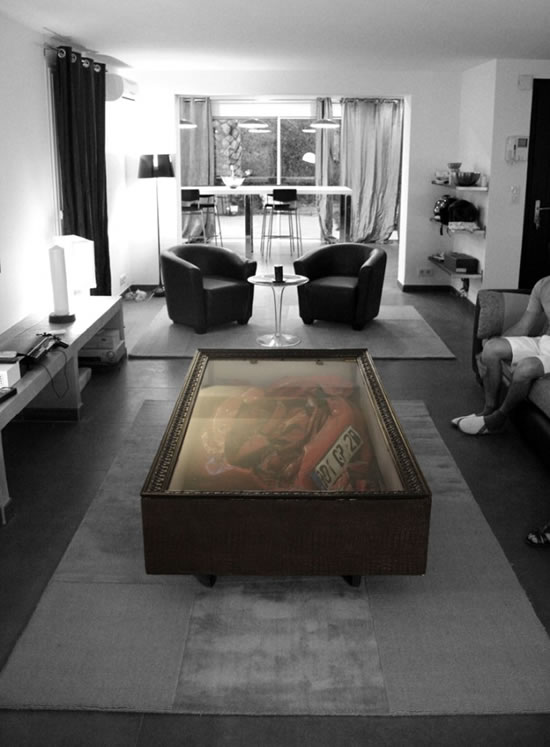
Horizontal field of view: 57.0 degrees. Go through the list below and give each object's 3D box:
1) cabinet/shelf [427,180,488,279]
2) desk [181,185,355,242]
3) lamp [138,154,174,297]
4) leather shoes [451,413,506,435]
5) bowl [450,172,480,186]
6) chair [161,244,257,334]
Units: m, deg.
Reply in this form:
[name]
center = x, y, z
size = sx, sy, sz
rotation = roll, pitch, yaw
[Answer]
[cabinet/shelf]
center = 2.320, -1.861, 6.550
size = 0.504, 1.242, 1.342
rotation = 1, 9, 10
[desk]
center = 0.097, -3.353, 10.293
size = 2.811, 1.367, 2.549
rotation = 1, 9, 8
[lamp]
center = -1.588, -1.980, 6.878
size = 0.458, 1.859, 0.707
rotation = -2, 8, -14
[leather shoes]
center = 1.253, 0.319, 3.121
size = 0.280, 0.188, 0.107
rotation = -3, -5, 33
[bowl]
center = 2.248, -2.311, 6.053
size = 0.343, 0.184, 0.228
rotation = 5, 10, 28
[chair]
center = -0.674, -0.951, 5.637
size = 0.974, 0.983, 1.021
rotation = -20, 33, -41
